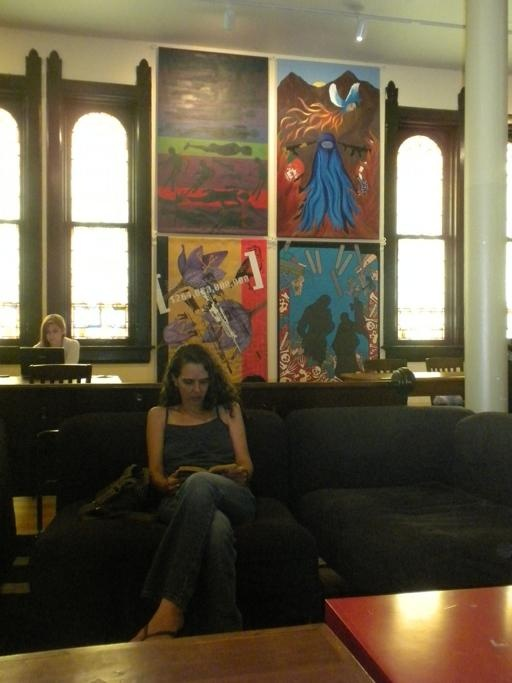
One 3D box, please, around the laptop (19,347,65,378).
[{"bbox_3d":[-1.356,0.101,4.003,0.264,0.179,0.188,0,8,-19],"label":"laptop"}]
